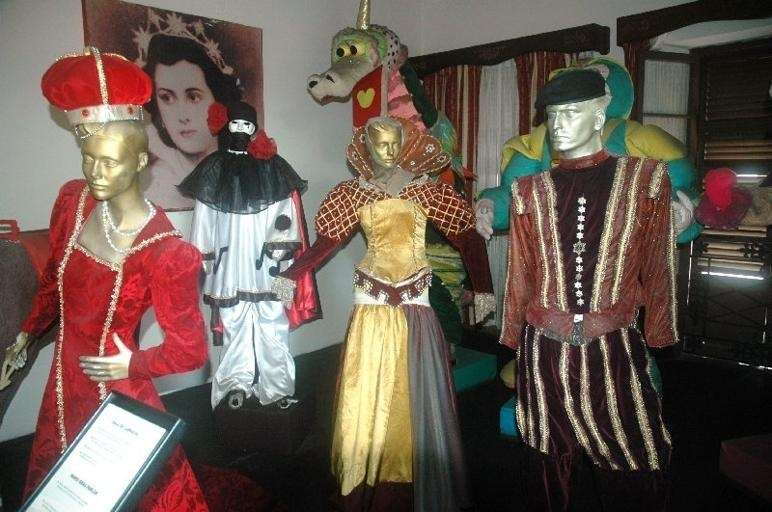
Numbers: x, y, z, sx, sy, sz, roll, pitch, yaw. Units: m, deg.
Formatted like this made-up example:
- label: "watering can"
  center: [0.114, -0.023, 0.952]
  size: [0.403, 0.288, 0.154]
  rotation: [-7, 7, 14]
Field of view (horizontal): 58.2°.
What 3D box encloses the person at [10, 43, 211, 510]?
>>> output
- label: "person"
  center: [-1.239, 0.051, 3.062]
  size: [0.845, 1.877, 0.528]
  rotation: [-6, 13, -14]
